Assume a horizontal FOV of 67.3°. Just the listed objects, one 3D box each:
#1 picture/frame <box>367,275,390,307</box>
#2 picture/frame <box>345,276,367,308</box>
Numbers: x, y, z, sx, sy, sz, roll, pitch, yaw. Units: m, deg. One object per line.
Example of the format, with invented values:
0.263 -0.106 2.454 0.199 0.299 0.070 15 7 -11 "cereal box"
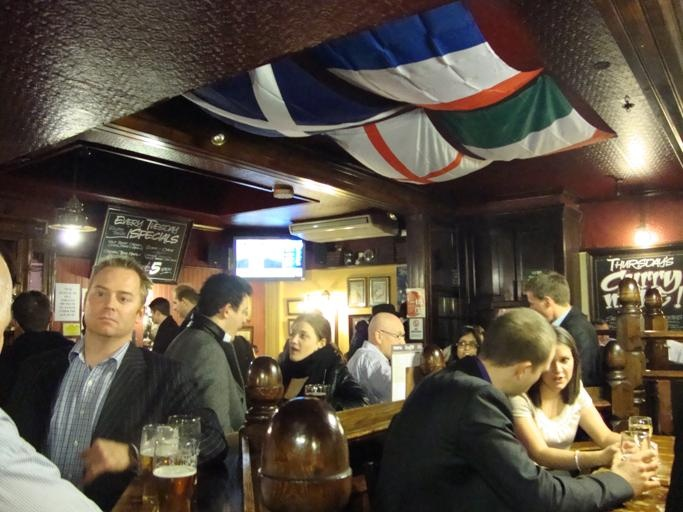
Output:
0.628 0.599 8.579 0.544 0.620 0.053 0 -5 39 "picture/frame"
0.259 0.641 9.025 0.050 0.594 0.522 6 -10 -44 "picture/frame"
